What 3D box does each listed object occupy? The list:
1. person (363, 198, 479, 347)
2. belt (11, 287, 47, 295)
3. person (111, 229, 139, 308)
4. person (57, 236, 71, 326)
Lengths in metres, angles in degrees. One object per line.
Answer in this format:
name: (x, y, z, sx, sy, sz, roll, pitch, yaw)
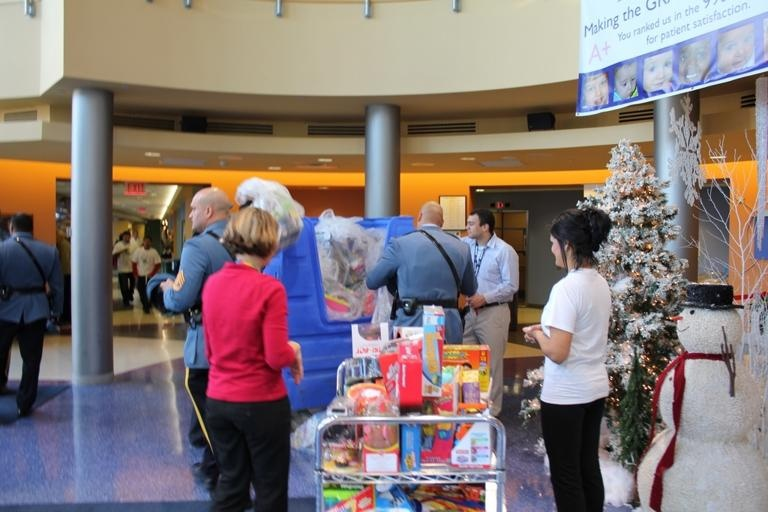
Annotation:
person: (0.347, 0.530, 5.608, 0.883, 2.298, 0.665, -3, 26, -12)
belt: (-3.828, 0.384, 6.468, 0.123, 0.100, 0.352, 4, 8, 34)
person: (-5.158, 0.188, 11.929, 0.383, 1.390, 0.359, -5, 7, -38)
person: (-5.981, 0.326, 11.031, 0.156, 1.426, 0.213, -20, -27, 1)
